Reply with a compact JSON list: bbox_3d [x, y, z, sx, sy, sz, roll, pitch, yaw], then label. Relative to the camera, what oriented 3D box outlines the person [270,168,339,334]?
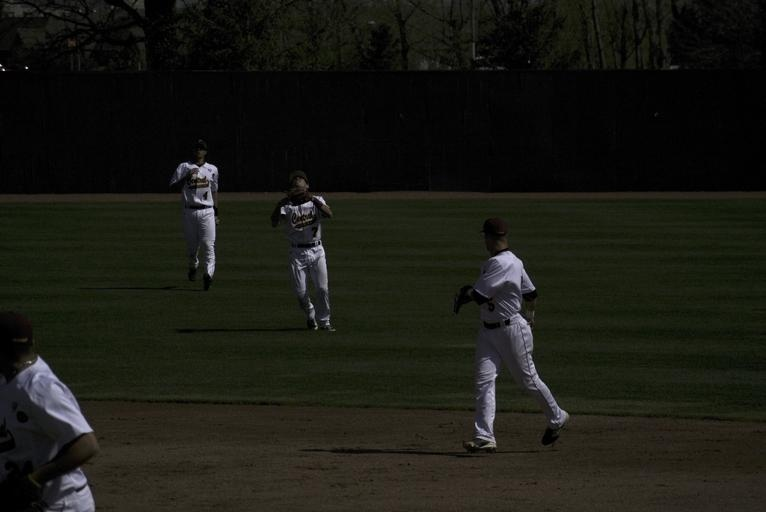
[{"bbox_3d":[-1.781,-0.025,33.281,1.255,3.684,0.570,0,10,-4],"label":"person"}]

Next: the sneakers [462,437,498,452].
[{"bbox_3d":[1.911,3.810,28.781,0.664,0.253,0.292,6,35,-2],"label":"sneakers"}]

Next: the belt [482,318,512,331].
[{"bbox_3d":[2.245,1.370,28.725,0.579,0.207,0.071,2,10,13],"label":"belt"}]

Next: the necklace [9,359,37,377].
[{"bbox_3d":[-6.464,1.979,25.903,0.403,0.304,0.301,-33,16,1],"label":"necklace"}]

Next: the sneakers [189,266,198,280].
[{"bbox_3d":[-4.904,0.522,37.529,0.167,0.182,0.457,1,-22,-6],"label":"sneakers"}]
